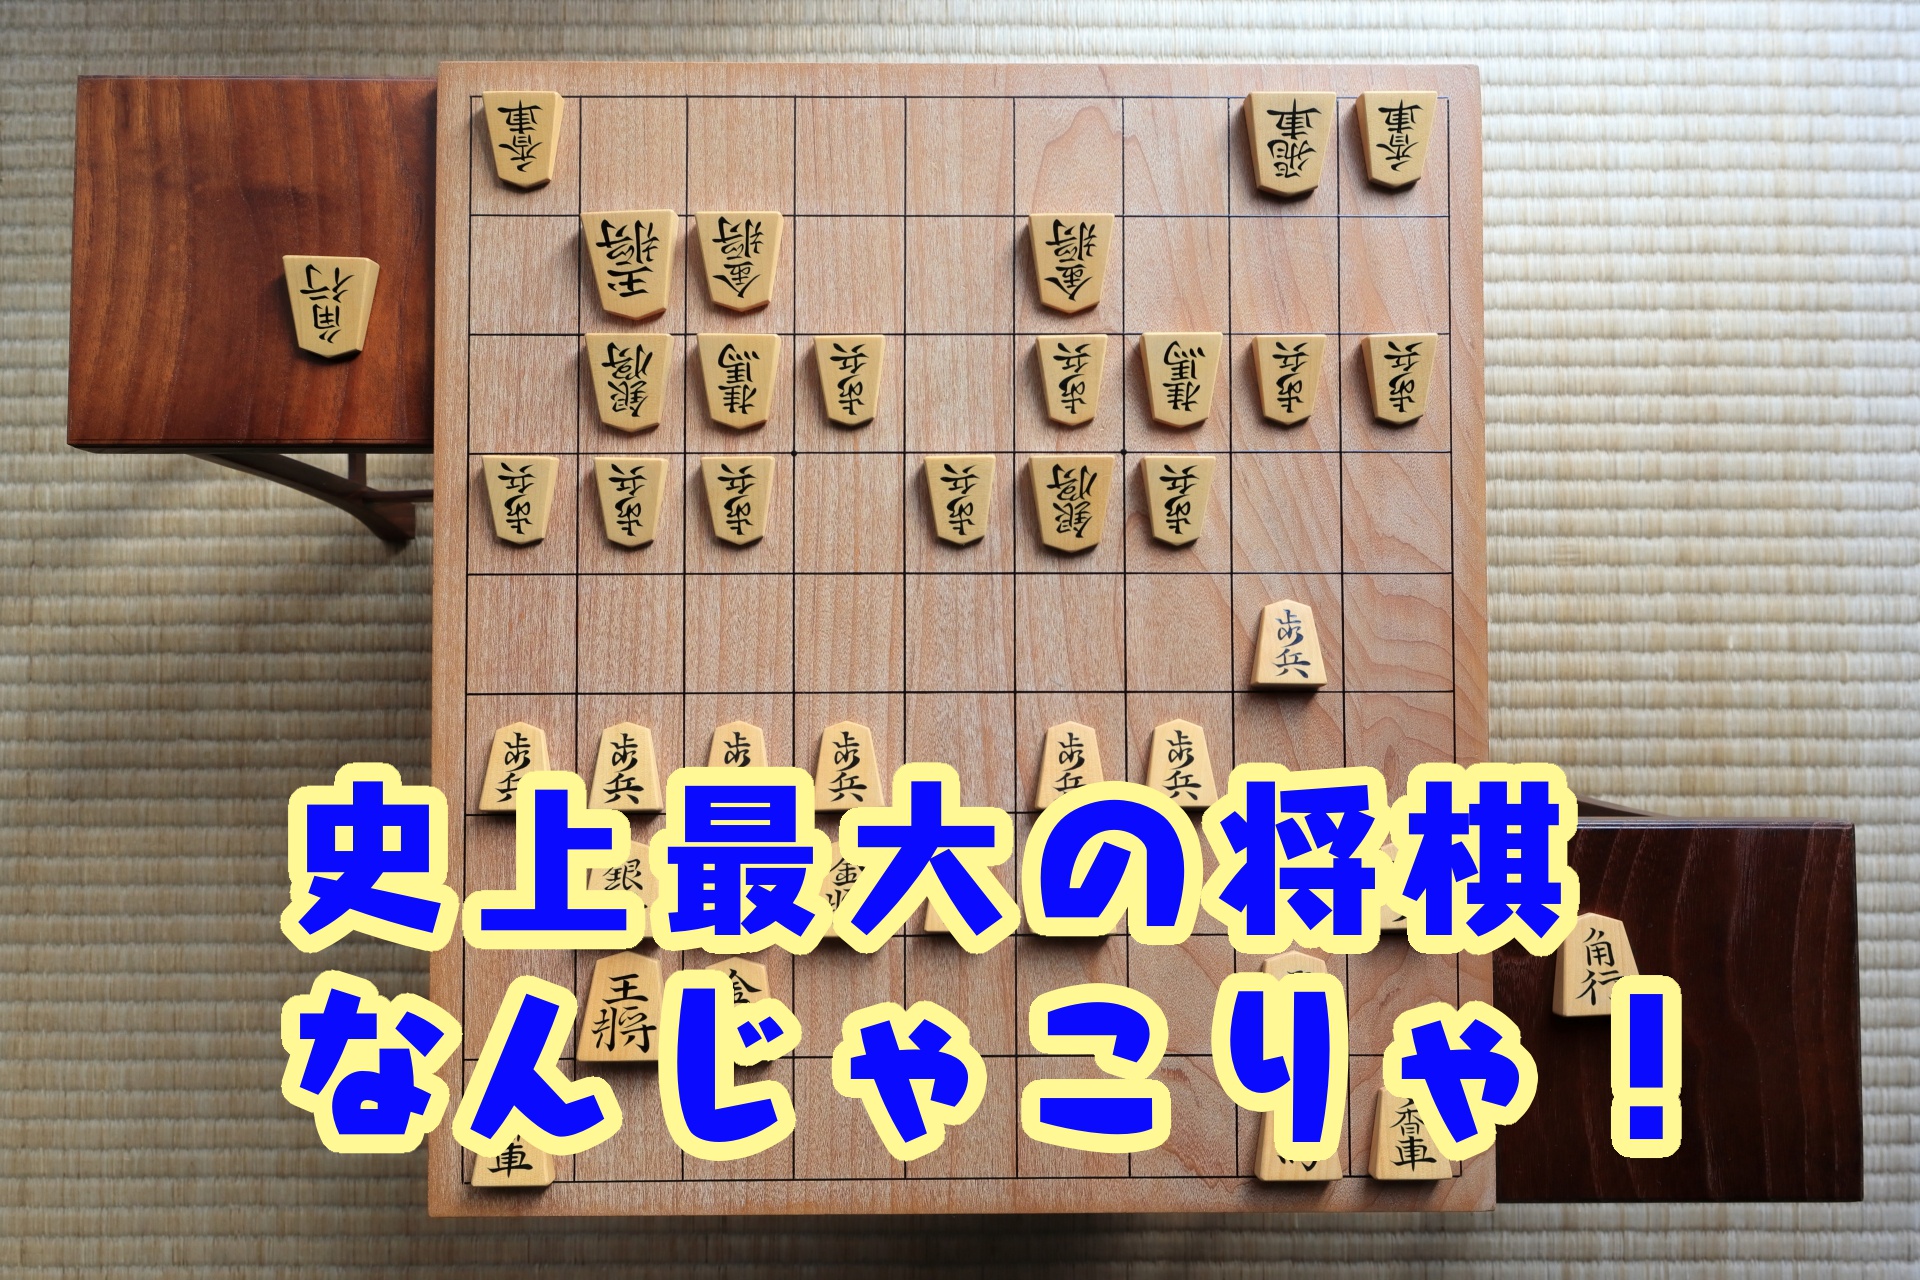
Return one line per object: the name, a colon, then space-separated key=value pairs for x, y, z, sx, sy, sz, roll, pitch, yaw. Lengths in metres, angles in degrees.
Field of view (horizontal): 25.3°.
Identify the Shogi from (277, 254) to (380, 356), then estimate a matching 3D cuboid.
Shogi: x=-0.872 y=-0.450 z=5.938 sx=0.123 sy=0.164 sz=0.051 roll=1 pitch=-28 yaw=-15
